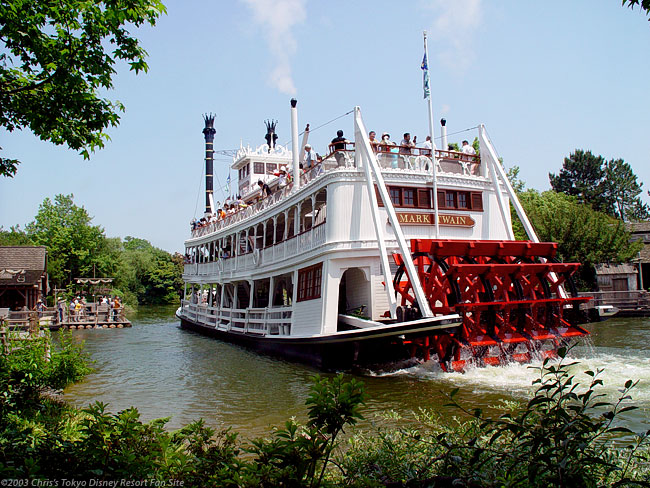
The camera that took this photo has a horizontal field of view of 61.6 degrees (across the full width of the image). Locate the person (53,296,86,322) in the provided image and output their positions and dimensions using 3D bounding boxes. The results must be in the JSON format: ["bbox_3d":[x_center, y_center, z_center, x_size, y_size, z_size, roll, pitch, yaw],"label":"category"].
[{"bbox_3d":[-14.463,3.775,31.079,1.460,0.797,2.356,1,0,-36],"label":"person"}]

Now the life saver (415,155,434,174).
[{"bbox_3d":[2.945,-2.413,16.329,0.497,0.493,0.120,14,-14,-15],"label":"life saver"}]

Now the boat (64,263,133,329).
[{"bbox_3d":[-14.300,3.239,33.572,4.049,2.416,6.039,3,-7,-26],"label":"boat"}]
